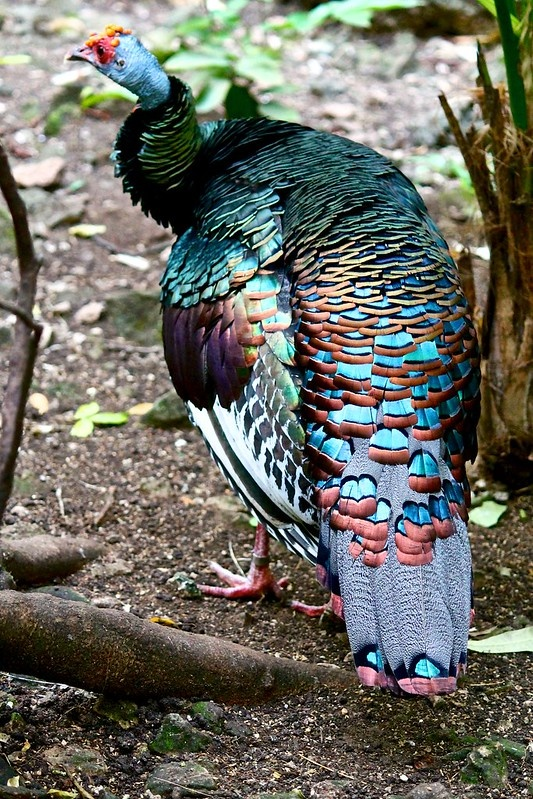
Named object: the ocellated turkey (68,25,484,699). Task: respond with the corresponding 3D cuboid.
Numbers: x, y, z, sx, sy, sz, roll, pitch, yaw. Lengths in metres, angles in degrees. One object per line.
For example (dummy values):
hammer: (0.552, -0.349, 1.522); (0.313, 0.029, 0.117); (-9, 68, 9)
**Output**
ocellated turkey: (0.367, -0.450, 3.362); (1.138, 1.883, 2.905); (-10, 31, 8)
